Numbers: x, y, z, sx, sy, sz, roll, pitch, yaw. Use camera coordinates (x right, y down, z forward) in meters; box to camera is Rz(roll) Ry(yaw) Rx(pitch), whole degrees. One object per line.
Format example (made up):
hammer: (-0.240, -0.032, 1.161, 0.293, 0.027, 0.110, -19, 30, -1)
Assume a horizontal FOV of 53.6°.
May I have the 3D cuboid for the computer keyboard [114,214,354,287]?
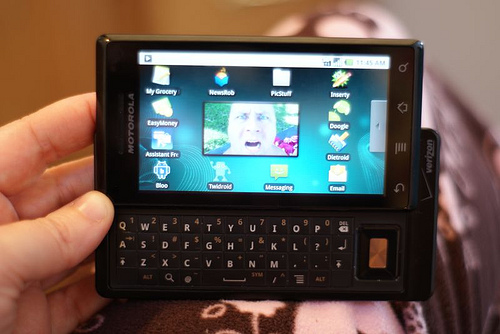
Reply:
computer keyboard: (-0.033, 0.164, 0.979, 0.475, 0.149, 0.064, -2, 27, 1)
